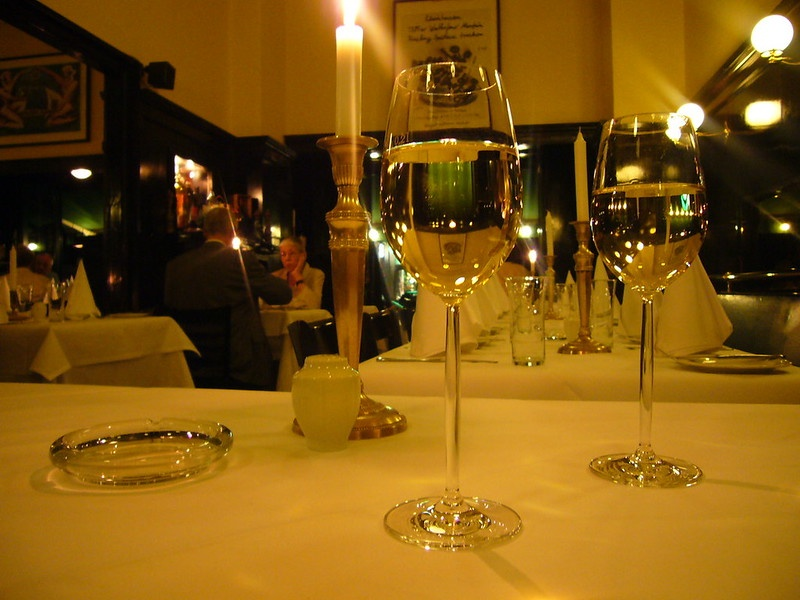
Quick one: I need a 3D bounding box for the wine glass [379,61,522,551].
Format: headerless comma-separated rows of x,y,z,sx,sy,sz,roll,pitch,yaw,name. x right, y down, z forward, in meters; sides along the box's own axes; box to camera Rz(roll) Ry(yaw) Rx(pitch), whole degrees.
0.050,-0.011,0.589,0.135,0.402,0.189,0,9,-2,wine glass

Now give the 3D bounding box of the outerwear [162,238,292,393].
-1.081,0.119,4.032,0.783,0.976,0.625,-1,0,8,outerwear

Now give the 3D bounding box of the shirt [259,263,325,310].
-1.128,-0.107,5.916,0.321,0.183,0.431,-10,-37,0,shirt

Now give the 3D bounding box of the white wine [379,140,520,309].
0.053,-0.053,0.646,0.128,0.213,0.137,-2,14,1,white wine
